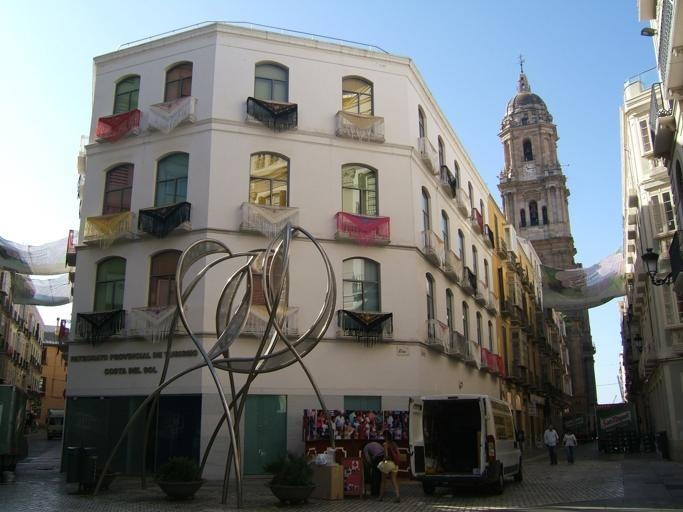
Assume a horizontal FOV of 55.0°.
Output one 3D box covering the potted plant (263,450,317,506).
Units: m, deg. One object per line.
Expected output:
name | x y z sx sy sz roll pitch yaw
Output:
potted plant | -1.577 7.058 20.842 1.426 1.551 1.558 2 -21 0

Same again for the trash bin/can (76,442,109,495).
trash bin/can | -8.670 7.076 22.398 0.706 1.260 0.805 5 -3 -16

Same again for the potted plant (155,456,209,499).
potted plant | -5.233 7.169 21.215 1.229 1.361 1.249 -1 -11 -8

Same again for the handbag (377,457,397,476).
handbag | 1.475 6.790 21.176 0.523 0.553 0.440 -9 -21 -3
